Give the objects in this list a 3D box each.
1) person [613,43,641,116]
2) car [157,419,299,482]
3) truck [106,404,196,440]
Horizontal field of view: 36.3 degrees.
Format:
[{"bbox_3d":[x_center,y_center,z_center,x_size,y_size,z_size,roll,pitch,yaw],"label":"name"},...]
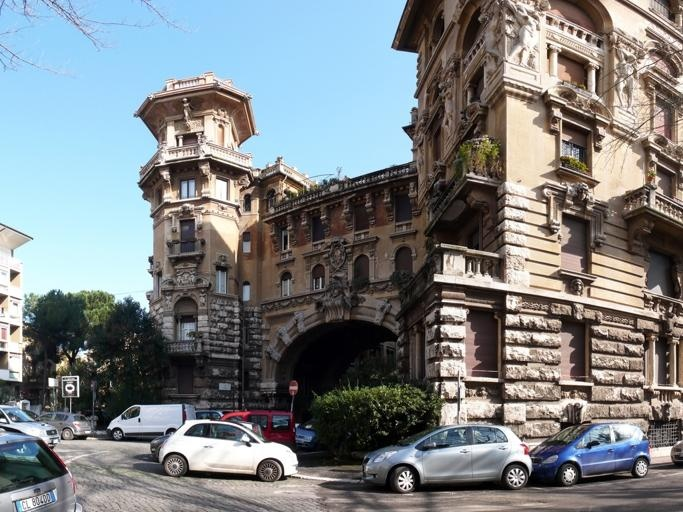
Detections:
[{"bbox_3d":[12.938,-8.040,46.951,1.310,2.673,0.404,5,-12,-18],"label":"person"},{"bbox_3d":[-4.217,7.351,39.076,4.227,1.738,2.320,1,-9,-3],"label":"car"},{"bbox_3d":[-9.802,8.201,53.227,4.483,1.968,2.105,0,-11,8],"label":"truck"}]
